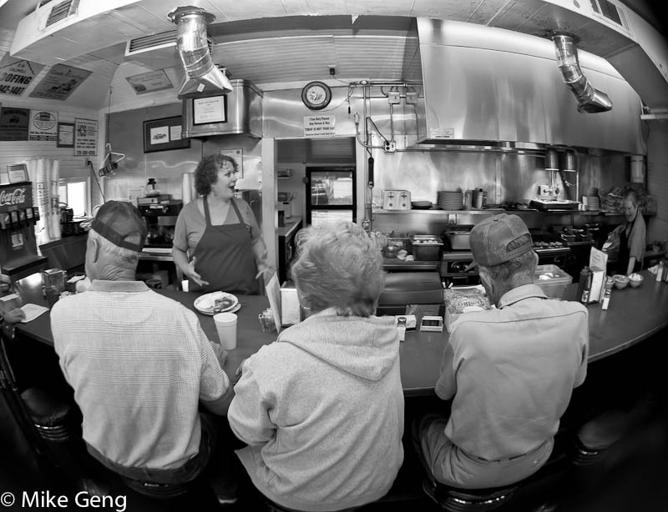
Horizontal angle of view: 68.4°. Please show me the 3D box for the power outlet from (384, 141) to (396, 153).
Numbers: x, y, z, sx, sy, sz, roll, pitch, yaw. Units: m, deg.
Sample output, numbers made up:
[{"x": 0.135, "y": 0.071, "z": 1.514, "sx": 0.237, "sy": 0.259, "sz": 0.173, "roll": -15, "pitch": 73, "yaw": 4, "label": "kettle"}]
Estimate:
[{"x": 0.547, "y": -1.047, "z": 4.728, "sx": 0.115, "sy": 0.099, "sz": 0.142, "roll": 0, "pitch": 4, "yaw": 11, "label": "power outlet"}]

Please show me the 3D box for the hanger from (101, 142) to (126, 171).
[{"x": -2.254, "y": -1.017, "z": 5.043, "sx": 0.283, "sy": 0.279, "sz": 0.148, "roll": -11, "pitch": 8, "yaw": -19, "label": "hanger"}]

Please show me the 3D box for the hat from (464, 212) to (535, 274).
[{"x": 0.706, "y": -0.081, "z": 2.176, "sx": 0.248, "sy": 0.183, "sz": 0.341, "roll": -20, "pitch": 2, "yaw": -11, "label": "hat"}]

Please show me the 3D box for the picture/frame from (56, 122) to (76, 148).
[{"x": -2.564, "y": -1.156, "z": 4.681, "sx": 0.030, "sy": 0.291, "sz": 0.255, "roll": 3, "pitch": 6, "yaw": 26, "label": "picture/frame"}]

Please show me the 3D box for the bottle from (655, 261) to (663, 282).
[{"x": 2.113, "y": 0.101, "z": 3.174, "sx": 0.047, "sy": 0.128, "sz": 0.052, "roll": 0, "pitch": 4, "yaw": 0, "label": "bottle"}]

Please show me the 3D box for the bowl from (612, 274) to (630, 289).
[{"x": 1.766, "y": 0.160, "z": 3.017, "sx": 0.084, "sy": 0.064, "sz": 0.085, "roll": 0, "pitch": 8, "yaw": 0, "label": "bowl"}]

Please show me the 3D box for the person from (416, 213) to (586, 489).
[{"x": 0.692, "y": 0.421, "z": 2.079, "sx": 0.691, "sy": 1.183, "sz": 0.405, "roll": 1, "pitch": 4, "yaw": 24, "label": "person"}]

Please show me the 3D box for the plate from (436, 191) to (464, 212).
[{"x": 1.095, "y": -0.508, "z": 4.569, "sx": 0.187, "sy": 0.148, "sz": 0.191, "roll": 1, "pitch": 10, "yaw": 9, "label": "plate"}]

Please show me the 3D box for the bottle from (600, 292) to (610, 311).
[{"x": 1.520, "y": 0.251, "z": 2.751, "sx": 0.045, "sy": 0.103, "sz": 0.099, "roll": 1, "pitch": 4, "yaw": 24, "label": "bottle"}]

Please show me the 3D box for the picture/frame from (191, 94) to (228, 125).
[{"x": -1.052, "y": -1.257, "z": 4.202, "sx": 0.244, "sy": 0.181, "sz": 0.026, "roll": 1, "pitch": 8, "yaw": 16, "label": "picture/frame"}]

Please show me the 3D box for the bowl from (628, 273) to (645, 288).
[{"x": 1.876, "y": 0.144, "z": 3.058, "sx": 0.089, "sy": 0.064, "sz": 0.090, "roll": -4, "pitch": 15, "yaw": 1, "label": "bowl"}]

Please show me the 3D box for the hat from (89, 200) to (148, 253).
[{"x": -0.880, "y": -0.136, "z": 2.051, "sx": 0.244, "sy": 0.235, "sz": 0.176, "roll": -14, "pitch": 17, "yaw": -40, "label": "hat"}]

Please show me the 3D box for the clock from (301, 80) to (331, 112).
[{"x": -0.157, "y": -1.434, "z": 4.407, "sx": 0.251, "sy": 0.238, "sz": 0.148, "roll": 0, "pitch": 4, "yaw": -1, "label": "clock"}]

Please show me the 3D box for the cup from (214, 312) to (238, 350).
[{"x": -0.512, "y": 0.359, "z": 2.432, "sx": 0.158, "sy": 0.167, "sz": 0.154, "roll": -6, "pitch": 5, "yaw": 0, "label": "cup"}]

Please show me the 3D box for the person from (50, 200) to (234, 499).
[{"x": -0.795, "y": 0.483, "z": 2.112, "sx": 0.706, "sy": 1.434, "sz": 0.405, "roll": -1, "pitch": 4, "yaw": -12, "label": "person"}]
